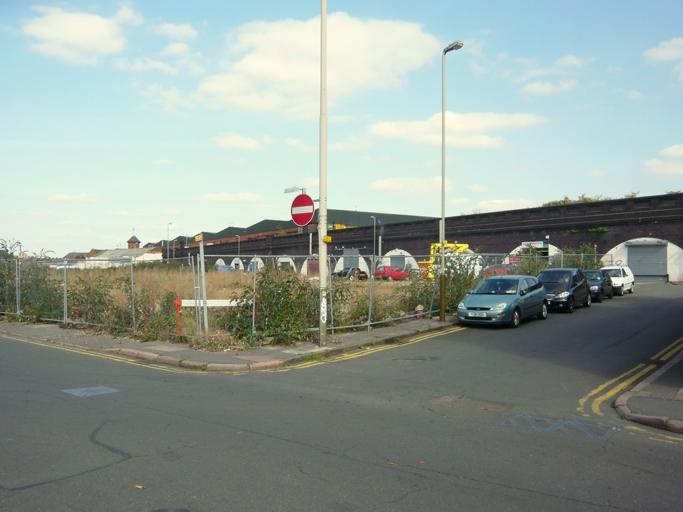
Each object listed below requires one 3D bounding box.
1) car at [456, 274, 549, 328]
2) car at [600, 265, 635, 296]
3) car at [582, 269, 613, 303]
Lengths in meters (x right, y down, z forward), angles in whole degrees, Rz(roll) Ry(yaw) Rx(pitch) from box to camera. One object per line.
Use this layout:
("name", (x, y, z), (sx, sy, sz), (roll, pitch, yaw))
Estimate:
("car", (5.285, 1.481, 22.789), (1.692, 1.554, 3.240), (5, 7, 41))
("car", (14.378, 1.257, 36.326), (1.461, 1.310, 2.671), (-4, -6, 35))
("car", (11.594, 1.295, 31.487), (1.083, 0.943, 2.467), (-4, -7, 32))
